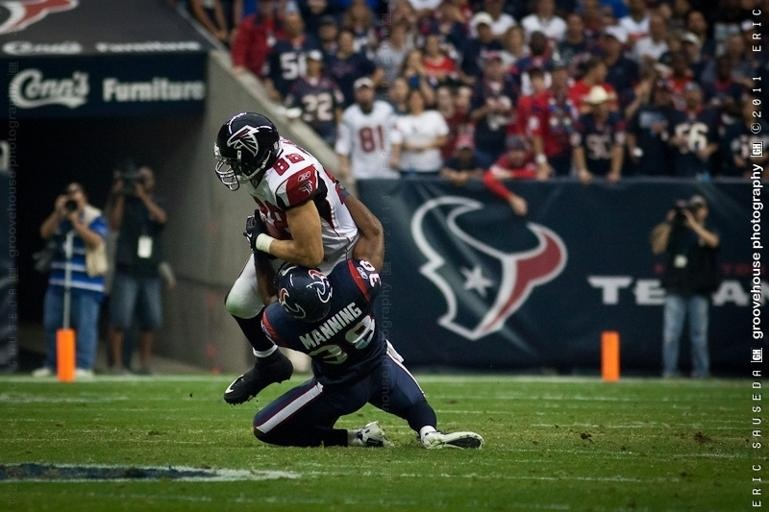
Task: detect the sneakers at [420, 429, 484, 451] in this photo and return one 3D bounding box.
[{"bbox_3d":[0.528,1.427,10.449,0.473,0.196,0.171,-7,-3,4],"label":"sneakers"}]

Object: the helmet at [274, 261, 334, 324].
[{"bbox_3d":[-0.576,0.278,10.271,0.374,0.373,0.444,-16,4,-9],"label":"helmet"}]

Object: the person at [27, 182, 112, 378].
[{"bbox_3d":[-2.813,0.346,12.390,0.605,1.842,1.093,-4,13,-15],"label":"person"}]

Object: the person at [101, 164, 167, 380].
[{"bbox_3d":[-2.416,0.184,13.188,0.533,1.986,0.865,-2,13,-5],"label":"person"}]

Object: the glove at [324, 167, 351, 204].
[{"bbox_3d":[-0.345,-0.521,10.568,0.295,0.097,0.203,36,17,-30],"label":"glove"}]

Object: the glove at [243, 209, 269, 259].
[{"bbox_3d":[-1.008,-0.169,10.471,0.209,0.318,0.085,-22,-6,-46],"label":"glove"}]

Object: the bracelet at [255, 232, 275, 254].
[{"bbox_3d":[-0.917,-0.093,10.409,0.207,0.166,0.112,6,15,28],"label":"bracelet"}]

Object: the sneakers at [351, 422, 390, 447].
[{"bbox_3d":[-0.112,1.408,10.634,0.269,0.111,0.178,1,6,-10],"label":"sneakers"}]

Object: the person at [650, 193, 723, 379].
[{"bbox_3d":[2.967,0.311,13.135,0.867,1.747,0.378,-9,15,-31],"label":"person"}]
